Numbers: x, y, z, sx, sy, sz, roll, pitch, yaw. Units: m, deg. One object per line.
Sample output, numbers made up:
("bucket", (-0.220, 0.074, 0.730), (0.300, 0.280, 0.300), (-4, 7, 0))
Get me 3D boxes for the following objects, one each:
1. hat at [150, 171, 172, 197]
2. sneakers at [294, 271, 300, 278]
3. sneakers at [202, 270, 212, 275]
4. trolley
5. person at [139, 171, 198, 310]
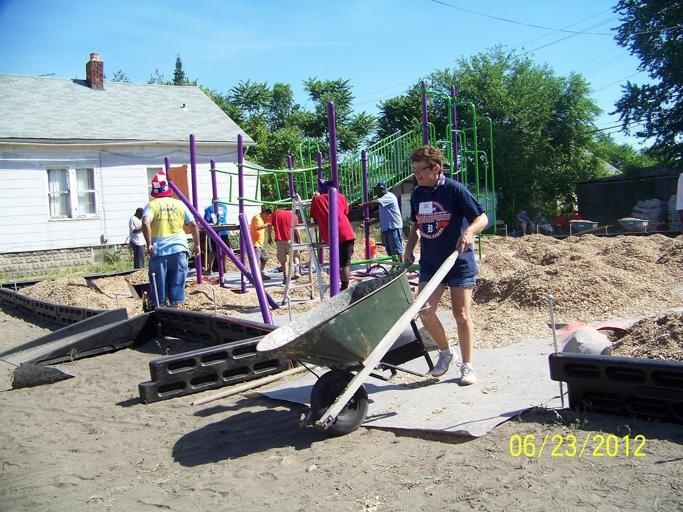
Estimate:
("hat", (-2.602, -1.009, 9.171), (0.332, 0.297, 0.439), (-7, 18, 3))
("sneakers", (-0.889, 0.375, 13.019), (0.108, 0.132, 0.051), (-6, -35, 18))
("sneakers", (-3.234, 0.401, 15.690), (0.163, 0.065, 0.194), (-1, 1, -4))
("trolley", (0.366, 0.756, 5.887), (2.237, 0.891, 0.874), (-18, -16, -47))
("person", (-2.376, -0.214, 8.911), (0.611, 1.808, 0.800), (-5, 14, 8))
